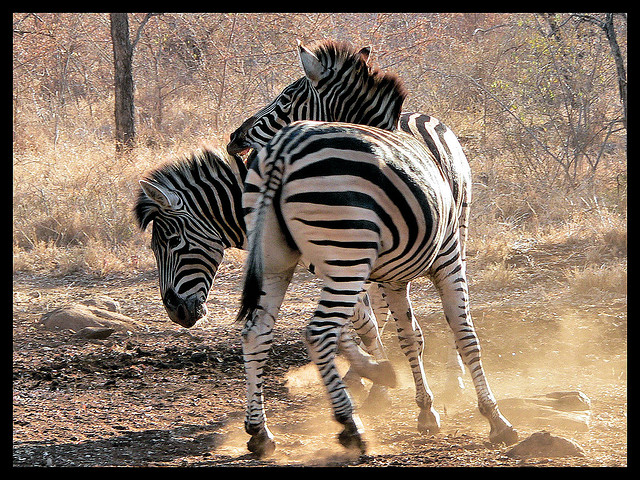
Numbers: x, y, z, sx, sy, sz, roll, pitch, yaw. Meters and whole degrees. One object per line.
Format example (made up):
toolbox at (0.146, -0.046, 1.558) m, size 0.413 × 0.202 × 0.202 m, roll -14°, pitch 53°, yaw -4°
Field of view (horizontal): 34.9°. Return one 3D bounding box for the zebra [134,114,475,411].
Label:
zebra at (0.043, 0.531, 12.118) m, size 1.556 × 3.252 × 5.003 m, roll -23°, pitch -11°, yaw 40°

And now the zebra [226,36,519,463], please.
zebra at (0.557, 0.120, 11.486) m, size 1.755 × 3.680 × 6.072 m, roll -1°, pitch 1°, yaw 25°
